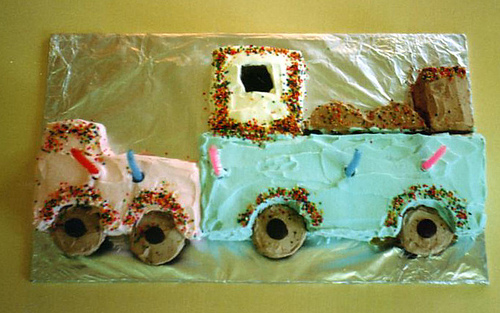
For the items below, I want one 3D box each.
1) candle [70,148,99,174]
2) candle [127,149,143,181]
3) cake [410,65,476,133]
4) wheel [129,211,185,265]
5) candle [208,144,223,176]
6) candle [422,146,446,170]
[{"bbox_3d":[-1.895,0.046,9.399,0.344,0.258,0.072,11,27,30],"label":"candle"},{"bbox_3d":[-1.322,0.121,9.455,0.102,0.412,0.116,-27,-8,41],"label":"candle"},{"bbox_3d":[2.220,-0.667,9.576,0.690,0.658,0.434,-1,23,5],"label":"cake"},{"bbox_3d":[-1.066,0.938,9.385,0.553,0.598,0.200,5,1,1],"label":"wheel"},{"bbox_3d":[-0.398,0.027,9.347,0.120,0.293,0.229,-8,23,-11],"label":"candle"},{"bbox_3d":[2.093,0.007,9.392,0.310,0.220,0.056,-14,25,-24],"label":"candle"}]
